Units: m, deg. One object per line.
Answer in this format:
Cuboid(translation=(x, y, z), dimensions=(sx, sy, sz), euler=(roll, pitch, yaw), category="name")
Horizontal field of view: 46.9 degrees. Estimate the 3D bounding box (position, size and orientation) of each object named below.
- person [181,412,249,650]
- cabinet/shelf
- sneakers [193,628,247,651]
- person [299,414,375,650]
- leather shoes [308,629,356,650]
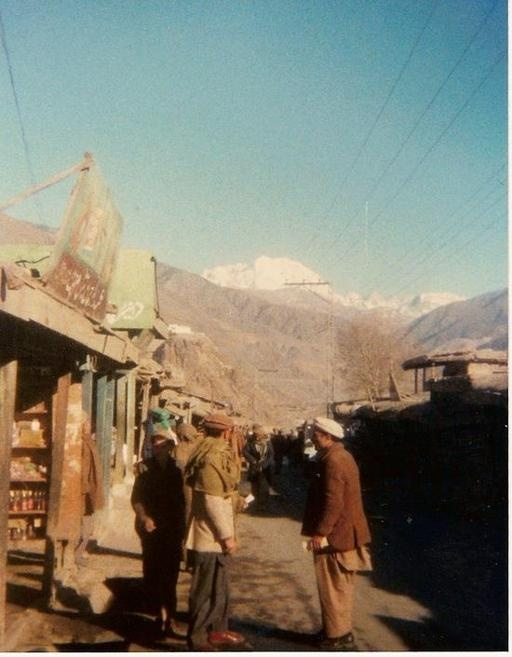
Cuboid(translation=(-0.330, 1.497, 4.504), dimensions=(0.434, 1.674, 0.408), euler=(2, -11, -6), category="person")
Cuboid(translation=(-2.811, 1.588, 7.398), dimensions=(0.475, 2.176, 0.809), euler=(5, -11, -20), category="cabinet/shelf")
Cuboid(translation=(-0.276, 2.253, 4.245), dimensions=(0.244, 0.058, 0.161), euler=(-1, -7, -10), category="sneakers")
Cuboid(translation=(0.611, 1.575, 4.605), dimensions=(0.523, 1.724, 0.406), euler=(-1, -11, 10), category="person")
Cuboid(translation=(0.598, 2.402, 4.545), dimensions=(0.332, 0.126, 0.276), euler=(0, -11, 6), category="leather shoes")
